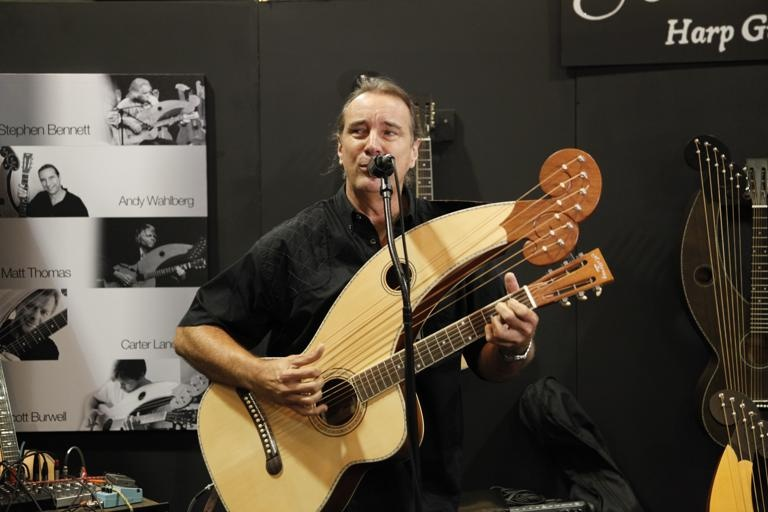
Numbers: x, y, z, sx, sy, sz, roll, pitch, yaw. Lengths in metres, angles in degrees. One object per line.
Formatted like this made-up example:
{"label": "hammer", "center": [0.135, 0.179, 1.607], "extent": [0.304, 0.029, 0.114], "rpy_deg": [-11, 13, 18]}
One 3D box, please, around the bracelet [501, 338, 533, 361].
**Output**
{"label": "bracelet", "center": [0.783, 0.552, 4.773], "extent": [0.119, 0.136, 0.040], "rpy_deg": [6, 46, 5]}

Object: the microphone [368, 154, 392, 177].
{"label": "microphone", "center": [-0.007, -0.477, 4.434], "extent": [0.144, 0.126, 0.076], "rpy_deg": [-1, 4, 8]}
